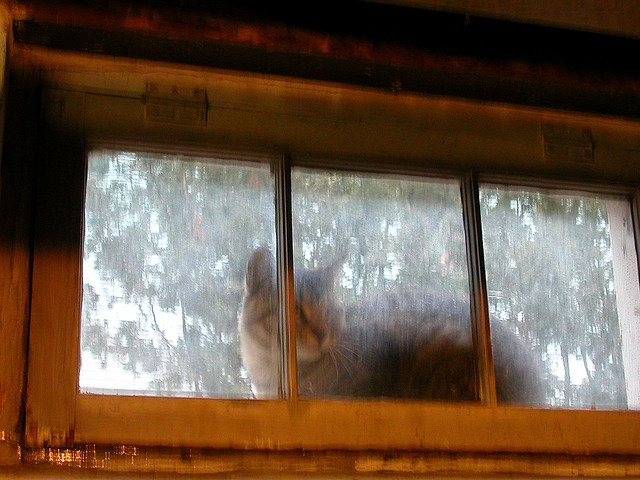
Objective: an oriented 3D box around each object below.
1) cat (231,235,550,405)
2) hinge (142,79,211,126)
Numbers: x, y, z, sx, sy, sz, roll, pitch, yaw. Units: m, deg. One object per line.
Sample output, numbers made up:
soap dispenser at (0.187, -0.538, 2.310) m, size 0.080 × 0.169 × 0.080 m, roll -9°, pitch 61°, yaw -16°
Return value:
cat at (0.147, 0.240, 2.984) m, size 0.756 × 0.347 × 0.238 m, roll 3°, pitch -7°, yaw -18°
hinge at (-0.312, -0.296, 2.890) m, size 0.143 × 0.090 × 0.011 m, roll 3°, pitch -4°, yaw -13°
